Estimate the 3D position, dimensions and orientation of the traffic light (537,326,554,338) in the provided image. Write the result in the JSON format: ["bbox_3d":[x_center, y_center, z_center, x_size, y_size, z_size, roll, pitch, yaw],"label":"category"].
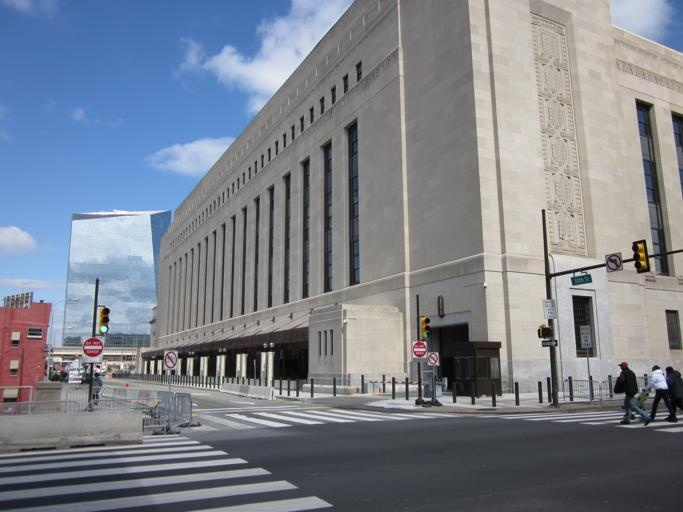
[{"bbox_3d":[10.209,3.769,27.915,0.680,0.676,0.575,-3,-15,3],"label":"traffic light"}]

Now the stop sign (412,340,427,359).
[{"bbox_3d":[4.069,4.758,29.017,0.596,0.960,1.541,-6,-16,13],"label":"stop sign"}]

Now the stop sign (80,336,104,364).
[{"bbox_3d":[-11.245,4.148,25.226,0.804,1.209,1.672,5,-17,-25],"label":"stop sign"}]

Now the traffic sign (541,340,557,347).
[{"bbox_3d":[10.308,4.267,27.440,0.568,0.214,0.624,3,-8,-19],"label":"traffic sign"}]

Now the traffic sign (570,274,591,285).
[{"bbox_3d":[12.996,1.227,30.435,0.845,0.418,0.879,-1,-4,-31],"label":"traffic sign"}]
